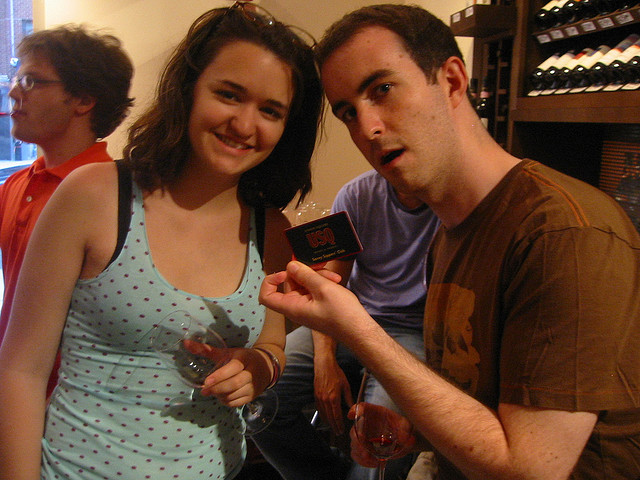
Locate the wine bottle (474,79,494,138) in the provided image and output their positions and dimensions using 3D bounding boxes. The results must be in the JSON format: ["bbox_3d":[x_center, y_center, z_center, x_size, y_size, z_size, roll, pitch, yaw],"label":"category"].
[{"bbox_3d":[1.078,-0.819,3.602,0.116,0.471,0.120,-3,17,1],"label":"wine bottle"}]

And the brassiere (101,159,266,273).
[{"bbox_3d":[-0.524,-0.097,2.136,0.386,0.418,0.517,-13,23,-41],"label":"brassiere"}]

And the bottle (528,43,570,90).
[{"bbox_3d":[1.298,-0.994,3.108,0.107,0.095,0.406,32,64,20],"label":"bottle"}]

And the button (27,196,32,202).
[{"bbox_3d":[-1.362,-0.196,2.584,0.020,0.026,0.018,-7,10,-19],"label":"button"}]

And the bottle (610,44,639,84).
[{"bbox_3d":[1.469,-0.848,2.647,0.056,0.058,0.245,-11,27,42],"label":"bottle"}]

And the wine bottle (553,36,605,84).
[{"bbox_3d":[1.399,-0.968,2.978,0.172,0.245,0.128,-4,14,-18],"label":"wine bottle"}]

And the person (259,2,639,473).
[{"bbox_3d":[0.480,-0.085,1.844,1.053,1.542,0.641,2,11,32],"label":"person"}]

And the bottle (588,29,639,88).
[{"bbox_3d":[1.459,-0.897,2.727,0.092,0.096,0.404,17,44,24],"label":"bottle"}]
